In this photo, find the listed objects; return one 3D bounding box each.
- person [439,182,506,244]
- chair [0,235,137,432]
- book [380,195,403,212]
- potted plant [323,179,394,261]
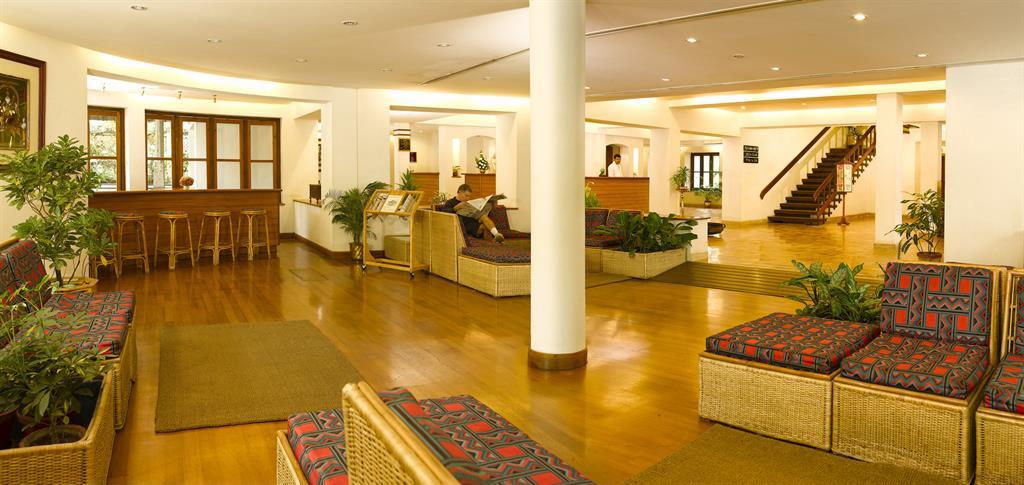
[{"bbox_3d":[-0.750,-0.610,11.775,0.913,0.996,1.902,-18,29,-33],"label":"person"},{"bbox_3d":[-5.080,1.066,6.285,1.201,1.342,2.063,-6,22,-30],"label":"chair"},{"bbox_3d":[-2.576,-0.850,11.764,0.491,0.355,0.307,8,12,39],"label":"book"},{"bbox_3d":[-3.692,-0.704,12.986,1.429,1.430,0.687,-2,10,-11],"label":"potted plant"}]
